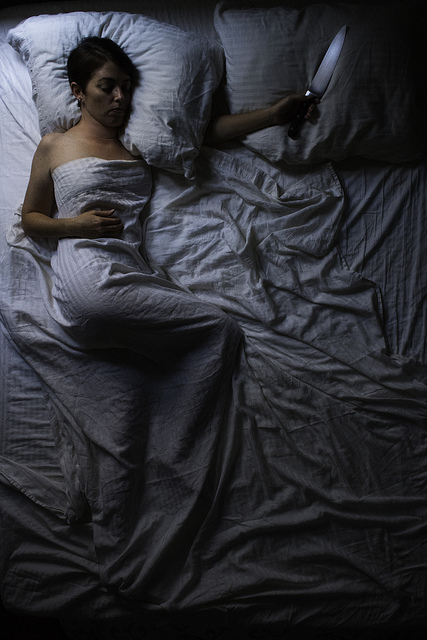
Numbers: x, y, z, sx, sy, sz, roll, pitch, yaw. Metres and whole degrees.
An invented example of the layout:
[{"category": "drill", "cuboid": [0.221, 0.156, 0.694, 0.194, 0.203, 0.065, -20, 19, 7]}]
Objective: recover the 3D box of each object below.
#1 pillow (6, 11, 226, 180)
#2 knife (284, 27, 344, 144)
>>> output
[{"category": "pillow", "cuboid": [-0.146, -0.534, 2.054, 0.445, 0.436, 0.128, 4, 3, 7]}, {"category": "knife", "cuboid": [0.242, -0.559, 1.837, 0.050, 0.023, 0.320, 33, 96, 13]}]
